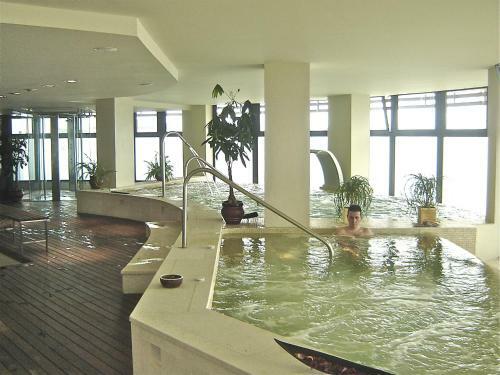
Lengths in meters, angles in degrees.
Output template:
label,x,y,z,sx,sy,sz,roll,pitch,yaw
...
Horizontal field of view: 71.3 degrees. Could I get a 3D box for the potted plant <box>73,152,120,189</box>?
label,x,y,z,sx,sy,sz,roll,pitch,yaw
potted plant,-4.485,-0.429,10.180,0.899,0.879,1.289,3,-2,33

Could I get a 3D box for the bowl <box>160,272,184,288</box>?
label,x,y,z,sx,sy,sz,roll,pitch,yaw
bowl,-0.703,0.810,3.126,0.192,0.108,0.222,-8,10,-24

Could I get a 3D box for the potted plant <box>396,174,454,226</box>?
label,x,y,z,sx,sy,sz,roll,pitch,yaw
potted plant,2.960,0.222,6.092,0.539,0.881,0.654,2,11,33

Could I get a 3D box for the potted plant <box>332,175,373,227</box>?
label,x,y,z,sx,sy,sz,roll,pitch,yaw
potted plant,1.872,0.221,6.465,0.613,0.827,0.589,5,11,31

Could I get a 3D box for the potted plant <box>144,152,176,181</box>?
label,x,y,z,sx,sy,sz,roll,pitch,yaw
potted plant,-3.079,-0.747,12.309,1.233,0.778,1.014,-1,5,-1
